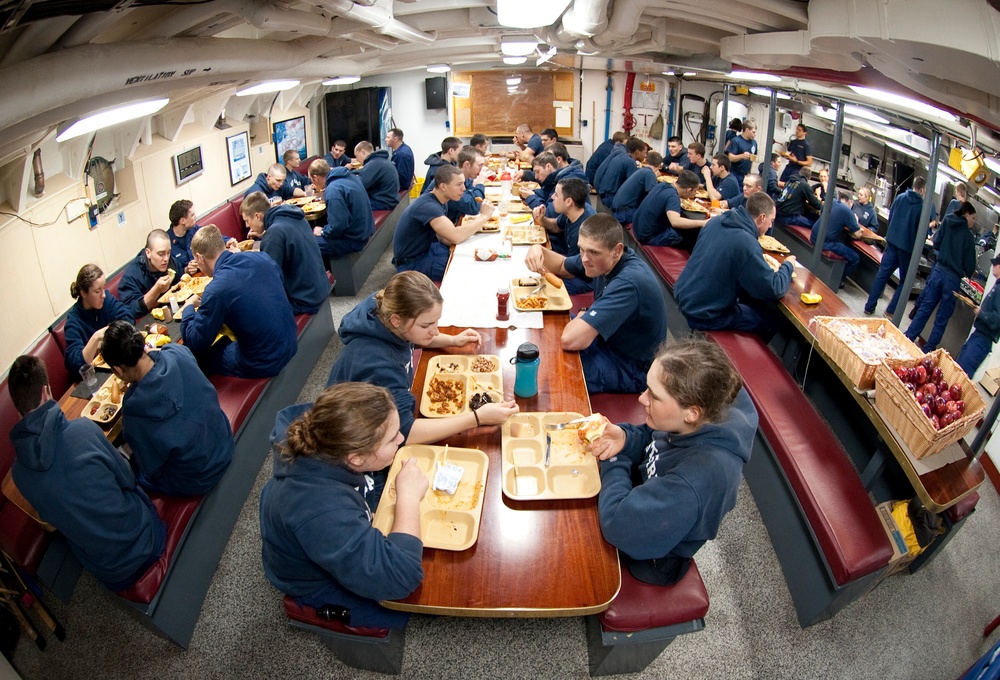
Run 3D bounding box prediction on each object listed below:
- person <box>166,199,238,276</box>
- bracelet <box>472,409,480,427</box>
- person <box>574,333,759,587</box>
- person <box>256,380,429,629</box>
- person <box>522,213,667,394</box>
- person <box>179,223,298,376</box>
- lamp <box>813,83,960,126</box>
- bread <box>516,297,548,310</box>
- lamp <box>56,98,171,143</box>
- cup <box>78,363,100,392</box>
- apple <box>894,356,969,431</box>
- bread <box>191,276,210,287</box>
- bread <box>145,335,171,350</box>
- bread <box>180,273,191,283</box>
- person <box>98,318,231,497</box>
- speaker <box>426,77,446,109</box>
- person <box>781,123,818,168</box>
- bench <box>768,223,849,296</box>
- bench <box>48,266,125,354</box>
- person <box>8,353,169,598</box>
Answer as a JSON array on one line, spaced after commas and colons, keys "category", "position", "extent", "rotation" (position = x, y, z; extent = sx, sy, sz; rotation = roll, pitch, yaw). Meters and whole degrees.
[{"category": "person", "position": [-3.085, -1.059, 5.931], "extent": [0.709, 1.213, 0.585], "rotation": [2, 71, -24]}, {"category": "bracelet", "position": [-0.144, 0.481, 3.606], "extent": [0.020, 0.078, 0.075], "rotation": [-9, 2, -10]}, {"category": "person", "position": [0.946, 0.729, 3.436], "extent": [0.677, 1.615, 0.761], "rotation": [16, 51, 9]}, {"category": "person", "position": [-0.841, 0.950, 3.155], "extent": [0.973, 1.376, 0.596], "rotation": [4, 26, 13]}, {"category": "person", "position": [0.704, -0.276, 4.610], "extent": [1.121, 1.813, 0.935], "rotation": [-7, 34, -4]}, {"category": "person", "position": [-2.211, -0.306, 4.969], "extent": [0.733, 1.184, 0.687], "rotation": [33, 58, 1]}, {"category": "lamp", "position": [2.923, -1.728, 4.212], "extent": [0.417, 0.247, 1.013], "rotation": [-2, 25, 0]}, {"category": "bread", "position": [0.252, -0.303, 4.724], "extent": [0.167, 0.030, 0.118], "rotation": [1, 47, 6]}, {"category": "lamp", "position": [-2.711, -1.607, 4.139], "extent": [0.585, 0.216, 0.747], "rotation": [1, 25, 6]}, {"category": "cup", "position": [-3.072, 0.281, 4.341], "extent": [0.131, 0.159, 0.102], "rotation": [13, 41, 2]}, {"category": "apple", "position": [2.837, 0.383, 3.863], "extent": [0.349, 0.134, 0.421], "rotation": [-2, 45, -1]}, {"category": "bread", "position": [-2.844, -0.561, 5.507], "extent": [0.156, 0.048, 0.150], "rotation": [-3, 32, 0]}, {"category": "bread", "position": [-2.663, 0.018, 4.510], "extent": [0.218, 0.086, 0.078], "rotation": [2, 64, 0]}, {"category": "bread", "position": [-3.059, -0.618, 5.651], "extent": [0.090, 0.064, 0.067], "rotation": [2, 22, 12]}, {"category": "person", "position": [-2.303, 0.502, 3.959], "extent": [0.723, 0.988, 0.622], "rotation": [24, 63, 11]}, {"category": "speaker", "position": [-1.302, -5.164, 12.050], "extent": [0.498, 0.612, 0.142], "rotation": [-5, 25, -5]}, {"category": "person", "position": [4.636, -3.036, 9.040], "extent": [0.260, 0.200, 0.758], "rotation": [20, 62, 15]}, {"category": "bench", "position": [3.681, -0.944, 6.804], "extent": [0.314, 0.441, 1.232], "rotation": [-7, 35, -2]}, {"category": "bench", "position": [-3.481, -0.239, 4.834], "extent": [0.334, 0.778, 0.277], "rotation": [23, 32, -25]}, {"category": "person", "position": [-2.538, 0.831, 3.534], "extent": [0.627, 1.405, 0.409], "rotation": [8, 27, 21]}]
